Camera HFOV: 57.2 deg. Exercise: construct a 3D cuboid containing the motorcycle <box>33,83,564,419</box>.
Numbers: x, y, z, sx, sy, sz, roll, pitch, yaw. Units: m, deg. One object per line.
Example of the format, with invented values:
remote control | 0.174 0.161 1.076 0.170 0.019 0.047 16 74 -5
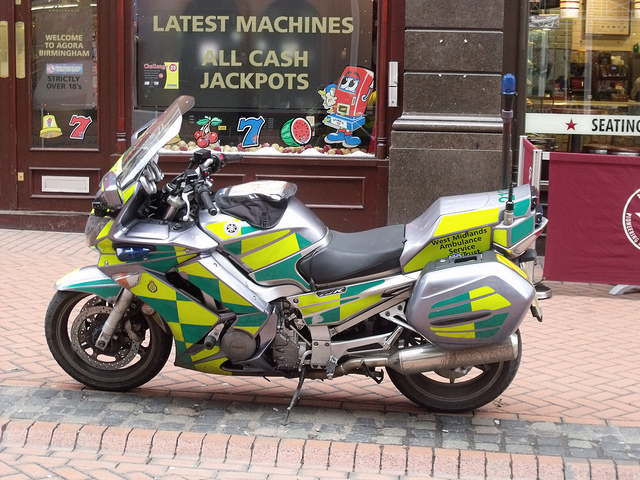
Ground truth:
motorcycle | -0.198 0.200 3.834 3.300 1.768 0.975 2 9 10
